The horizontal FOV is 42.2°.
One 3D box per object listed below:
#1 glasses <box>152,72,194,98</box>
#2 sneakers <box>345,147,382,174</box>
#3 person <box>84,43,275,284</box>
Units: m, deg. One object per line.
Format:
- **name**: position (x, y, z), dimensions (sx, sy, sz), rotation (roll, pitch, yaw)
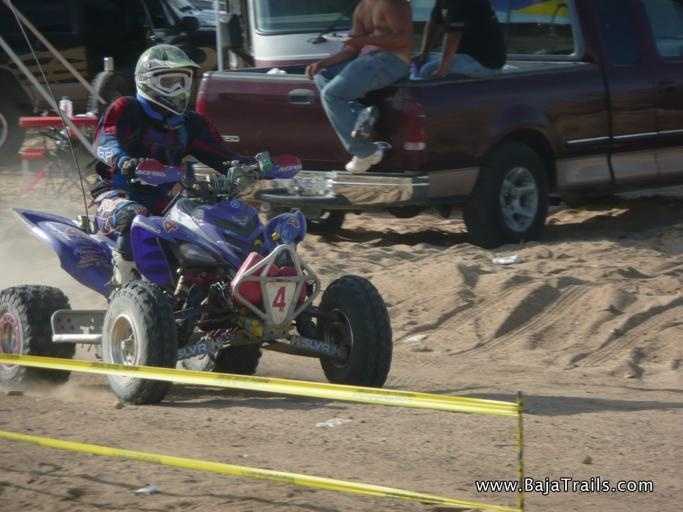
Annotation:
- **glasses**: position (-1.110, -1.151, 5.982), dimensions (0.226, 0.099, 0.259), rotation (-4, 0, -41)
- **sneakers**: position (0.210, -0.825, 7.870), dimensions (0.460, 0.111, 0.191), rotation (-17, -26, 28)
- **person**: position (-1.199, -0.639, 6.130), dimensions (0.917, 1.682, 0.883), rotation (1, -4, -36)
